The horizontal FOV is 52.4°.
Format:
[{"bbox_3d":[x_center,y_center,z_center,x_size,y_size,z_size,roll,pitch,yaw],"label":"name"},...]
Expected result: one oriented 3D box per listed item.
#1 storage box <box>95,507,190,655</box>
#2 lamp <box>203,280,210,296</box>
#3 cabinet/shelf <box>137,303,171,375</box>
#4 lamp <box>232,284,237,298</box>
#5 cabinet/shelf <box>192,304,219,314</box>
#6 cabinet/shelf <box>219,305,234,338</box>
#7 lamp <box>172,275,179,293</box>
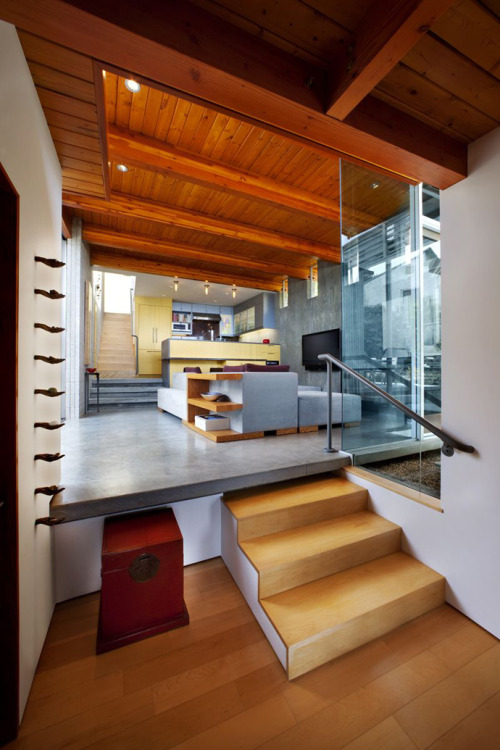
[{"bbox_3d":[-0.519,0.907,2.392,0.465,0.433,0.409,-1,4,-20],"label":"storage box"},{"bbox_3d":[-0.820,-1.630,9.363,0.145,0.255,0.150,1,1,34],"label":"lamp"},{"bbox_3d":[-1.996,-0.738,10.494,0.699,1.543,0.500,3,-11,-23],"label":"cabinet/shelf"},{"bbox_3d":[-0.310,-1.654,10.012,0.086,0.188,0.089,2,3,-1],"label":"lamp"},{"bbox_3d":[-1.057,-1.587,12.186,0.624,0.186,0.206,-5,14,-38],"label":"cabinet/shelf"},{"bbox_3d":[-0.578,-1.323,12.557,0.329,0.753,0.308,-1,5,-4],"label":"cabinet/shelf"},{"bbox_3d":[-1.341,-1.644,9.217,0.155,0.266,0.156,-1,9,-28],"label":"lamp"}]
